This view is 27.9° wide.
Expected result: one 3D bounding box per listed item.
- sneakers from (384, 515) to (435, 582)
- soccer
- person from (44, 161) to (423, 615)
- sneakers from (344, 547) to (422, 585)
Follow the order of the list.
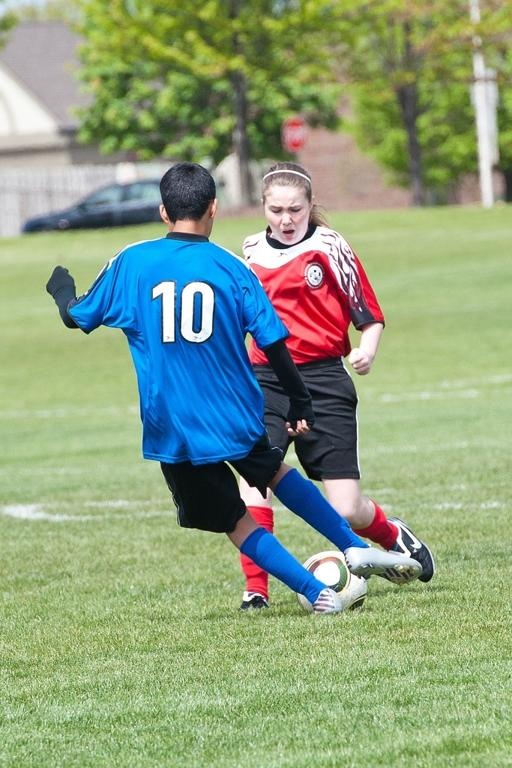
[{"bbox_3d":[0.527,0.557,3.537,0.109,0.082,0.256,-24,48,-30],"label":"sneakers"},{"bbox_3d":[0.255,0.615,3.209,0.187,0.159,0.093,-4,-10,22],"label":"soccer"},{"bbox_3d":[-0.066,0.037,3.005,0.748,1.119,0.483,-7,2,-41],"label":"person"},{"bbox_3d":[0.425,0.586,3.292,0.312,0.129,0.105,14,-50,-41],"label":"sneakers"}]
